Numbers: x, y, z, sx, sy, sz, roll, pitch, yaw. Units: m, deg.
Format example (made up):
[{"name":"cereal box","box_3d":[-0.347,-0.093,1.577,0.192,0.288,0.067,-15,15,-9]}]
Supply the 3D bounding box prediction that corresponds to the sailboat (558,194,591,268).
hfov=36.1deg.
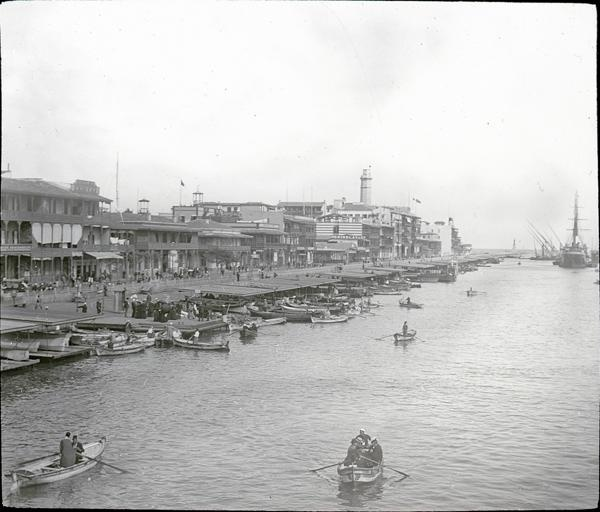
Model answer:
[{"name":"sailboat","box_3d":[78.544,-7.848,261.674,3.978,18.525,18.347,-5,13,-1]}]

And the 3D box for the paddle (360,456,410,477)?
[{"name":"paddle","box_3d":[4.252,10.736,46.757,2.355,0.443,0.331,23,-24,-33]}]
